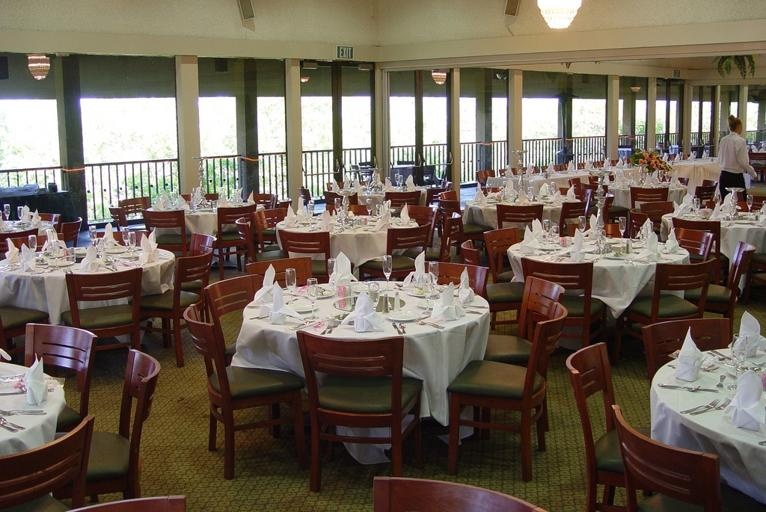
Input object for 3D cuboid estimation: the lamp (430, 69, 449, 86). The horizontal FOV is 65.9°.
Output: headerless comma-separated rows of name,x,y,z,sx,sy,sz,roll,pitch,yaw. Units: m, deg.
lamp,1.186,-3.777,12.484,0.330,0.295,0.094,-3,9,5
